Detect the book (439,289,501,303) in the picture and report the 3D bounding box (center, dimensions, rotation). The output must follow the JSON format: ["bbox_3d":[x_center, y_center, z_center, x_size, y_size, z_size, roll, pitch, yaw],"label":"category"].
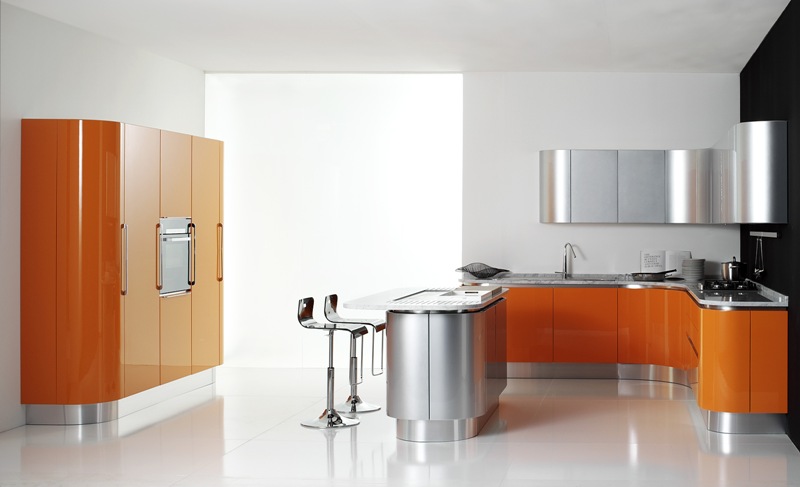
[{"bbox_3d":[0.781,0.603,6.925,0.645,0.095,1.035,0,5,8],"label":"book"}]

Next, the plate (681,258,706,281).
[{"bbox_3d":[4.128,0.382,8.670,0.313,0.299,0.310,-1,-1,23],"label":"plate"}]

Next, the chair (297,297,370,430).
[{"bbox_3d":[-0.755,1.325,7.127,0.730,1.483,0.908,-1,5,4],"label":"chair"}]

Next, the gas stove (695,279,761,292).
[{"bbox_3d":[3.962,0.514,7.429,0.678,0.100,0.429,0,5,11],"label":"gas stove"}]

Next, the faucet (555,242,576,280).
[{"bbox_3d":[2.455,0.234,9.041,0.214,0.486,0.339,1,6,25],"label":"faucet"}]

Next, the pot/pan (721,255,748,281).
[{"bbox_3d":[4.219,0.300,7.744,0.261,0.273,0.355,-2,0,8],"label":"pot/pan"}]
